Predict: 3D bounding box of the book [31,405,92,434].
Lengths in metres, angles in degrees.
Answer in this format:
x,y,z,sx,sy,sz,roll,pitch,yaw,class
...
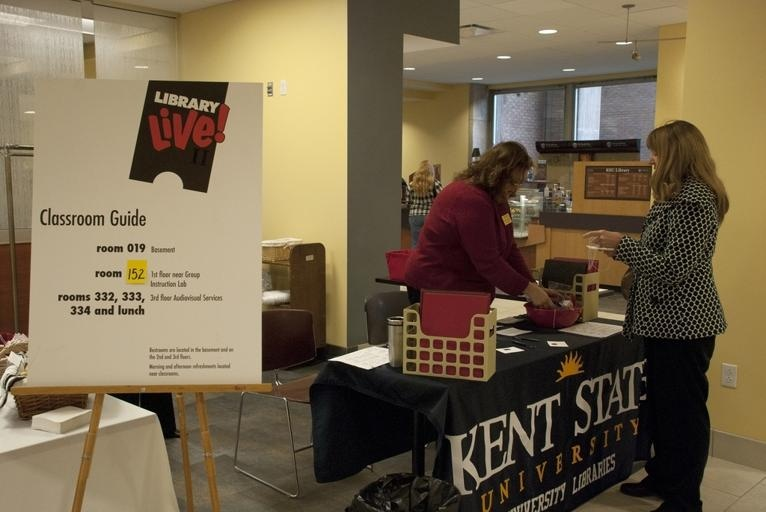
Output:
x,y,z,sx,sy,sz,roll,pitch,yaw,class
-1.441,0.747,2.488,0.119,0.052,0.167,4,6,18,book

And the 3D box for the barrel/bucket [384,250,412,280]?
x,y,z,sx,sy,sz,roll,pitch,yaw,class
0.092,0.070,4.211,0.261,0.227,0.217,2,-12,-24,barrel/bucket

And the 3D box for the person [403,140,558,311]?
x,y,z,sx,sy,sz,roll,pitch,yaw,class
0.566,-0.182,3.315,0.866,1.000,0.409,-1,6,2,person

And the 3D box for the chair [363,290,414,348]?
x,y,z,sx,sy,sz,roll,pitch,yaw,class
0.015,0.444,3.982,0.390,0.400,0.291,2,2,44,chair

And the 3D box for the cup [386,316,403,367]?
x,y,z,sx,sy,sz,roll,pitch,yaw,class
0.064,0.448,2.808,0.071,0.256,0.068,-1,6,0,cup
